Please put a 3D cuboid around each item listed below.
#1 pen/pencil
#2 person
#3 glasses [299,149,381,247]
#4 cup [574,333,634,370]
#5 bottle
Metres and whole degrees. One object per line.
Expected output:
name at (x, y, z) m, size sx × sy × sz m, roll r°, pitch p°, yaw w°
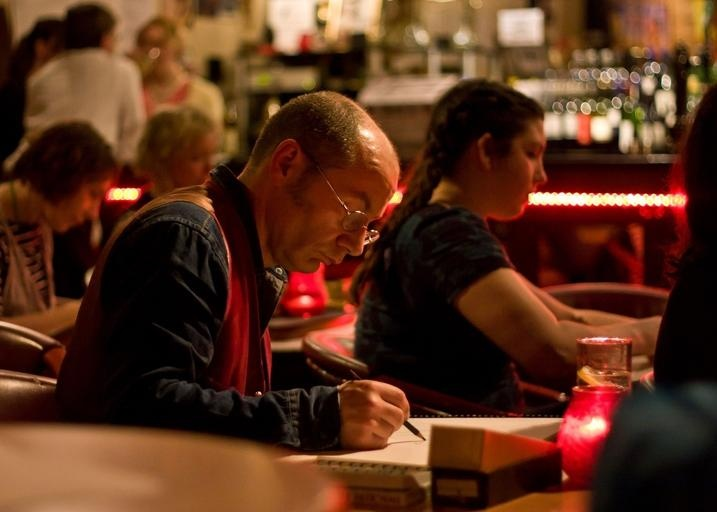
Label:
pen/pencil at (0.071, 0.351, 1.830) m, size 0.020 × 0.191 × 0.020 m, roll -39°, pitch -3°, yaw 5°
person at (-0.074, 0.004, 1.531) m, size 1.060 × 0.805 × 0.723 m, roll -1°, pitch 1°, yaw 14°
glasses at (-0.071, -0.125, 1.945) m, size 0.058 × 0.216 × 0.198 m, roll -30°, pitch -27°, yaw 4°
cup at (0.529, 0.209, 1.698) m, size 0.096 × 0.085 × 0.136 m, roll 6°, pitch 13°, yaw 33°
bottle at (0.426, 0.341, 1.518) m, size 0.128 × 0.157 × 0.096 m, roll -10°, pitch 13°, yaw -37°
